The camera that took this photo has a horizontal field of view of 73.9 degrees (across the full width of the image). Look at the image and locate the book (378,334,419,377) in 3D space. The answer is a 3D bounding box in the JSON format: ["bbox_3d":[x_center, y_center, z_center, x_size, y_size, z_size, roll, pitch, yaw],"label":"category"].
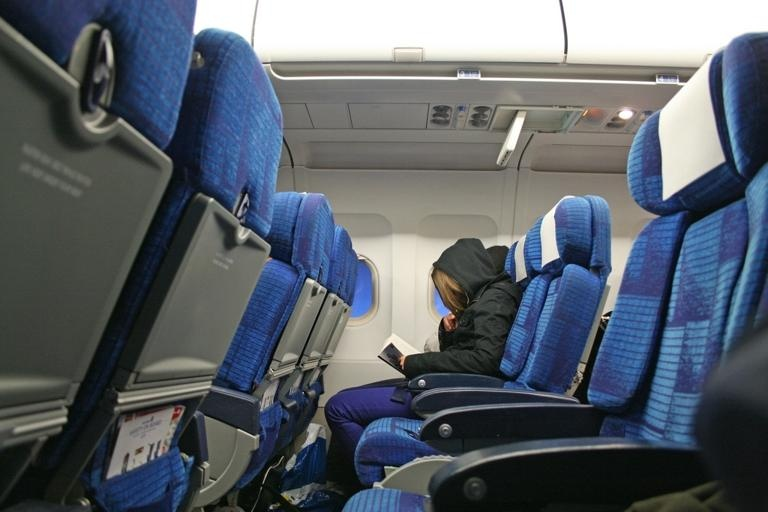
[{"bbox_3d":[0.077,0.684,3.694,0.321,0.076,0.309,36,24,-2],"label":"book"}]

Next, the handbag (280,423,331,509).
[{"bbox_3d":[-0.619,1.536,3.672,0.369,0.528,0.241,24,-53,3],"label":"handbag"}]
